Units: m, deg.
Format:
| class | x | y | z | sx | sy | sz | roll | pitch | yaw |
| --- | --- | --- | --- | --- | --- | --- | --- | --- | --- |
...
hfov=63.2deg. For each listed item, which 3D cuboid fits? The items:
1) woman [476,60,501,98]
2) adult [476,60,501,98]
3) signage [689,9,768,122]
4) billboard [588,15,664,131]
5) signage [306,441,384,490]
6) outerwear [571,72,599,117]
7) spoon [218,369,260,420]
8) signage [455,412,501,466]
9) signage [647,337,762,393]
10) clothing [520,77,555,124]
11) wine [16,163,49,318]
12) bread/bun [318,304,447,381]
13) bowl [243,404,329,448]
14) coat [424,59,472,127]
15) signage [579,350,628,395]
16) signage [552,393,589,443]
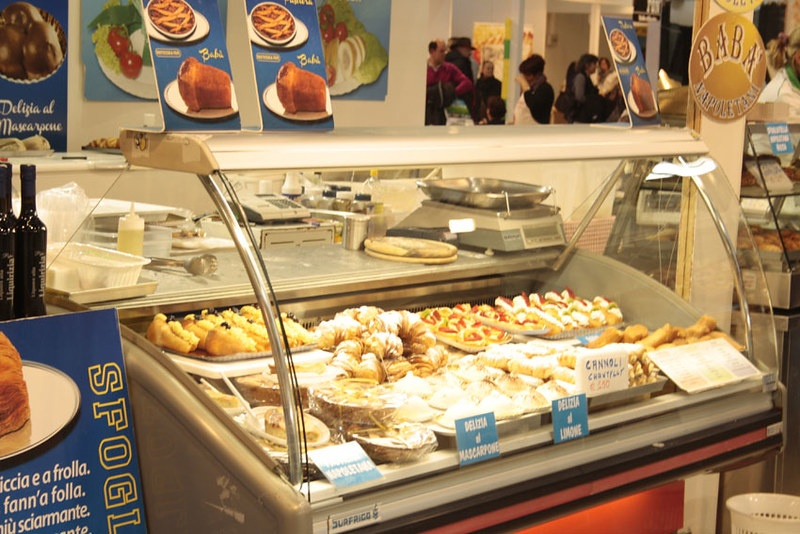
| class | x | y | z | sx | sy | sz | roll | pitch | yaw |
| --- | --- | --- | --- | --- | --- | --- | --- | --- | --- |
| woman | 1.140 | -2.398 | 8.324 | 0.310 | 0.441 | 0.674 | -3 | 15 | 10 |
| adult | 1.138 | -2.394 | 8.310 | 0.311 | 0.441 | 0.645 | -3 | 15 | 10 |
| signage | 1.705 | -1.045 | 3.370 | 0.531 | 0.535 | 0.012 | -3 | 7 | -21 |
| billboard | 1.090 | -0.937 | 3.064 | 0.248 | 0.514 | 0.686 | -1 | 15 | 19 |
| signage | -0.161 | 0.564 | 1.871 | 0.194 | 0.116 | 0.095 | -13 | 16 | -28 |
| outerwear | 2.340 | -2.161 | 8.324 | 0.206 | 0.542 | 0.393 | 3 | 4 | 32 |
| spoon | -0.495 | 0.379 | 1.965 | 0.044 | 0.036 | 0.306 | -11 | 31 | -22 |
| signage | 0.245 | 0.537 | 2.051 | 0.162 | 0.143 | 0.010 | -25 | -36 | 38 |
| signage | 1.243 | 0.390 | 2.643 | 0.244 | 0.028 | 0.349 | -24 | 21 | -24 |
| clothing | 1.641 | -1.973 | 7.730 | 0.329 | 0.536 | 0.274 | -3 | 14 | 9 |
| wine | -1.185 | -0.073 | 2.065 | 0.104 | 0.470 | 0.113 | 9 | 9 | 32 |
| bread/bun | -0.056 | 0.278 | 2.349 | 0.309 | 0.100 | 0.308 | -2 | 27 | -28 |
| bowl | -0.312 | 0.473 | 1.892 | 0.242 | 0.044 | 0.247 | 17 | 9 | -3 |
| coat | 0.499 | -2.047 | 7.648 | 0.400 | 0.680 | 0.732 | 8 | 19 | 43 |
| signage | 0.750 | 0.389 | 2.343 | 0.035 | 0.157 | 0.215 | 20 | -25 | -33 |
| signage | 0.591 | 0.516 | 2.235 | 0.017 | 0.146 | 0.162 | 17 | -29 | -28 |
